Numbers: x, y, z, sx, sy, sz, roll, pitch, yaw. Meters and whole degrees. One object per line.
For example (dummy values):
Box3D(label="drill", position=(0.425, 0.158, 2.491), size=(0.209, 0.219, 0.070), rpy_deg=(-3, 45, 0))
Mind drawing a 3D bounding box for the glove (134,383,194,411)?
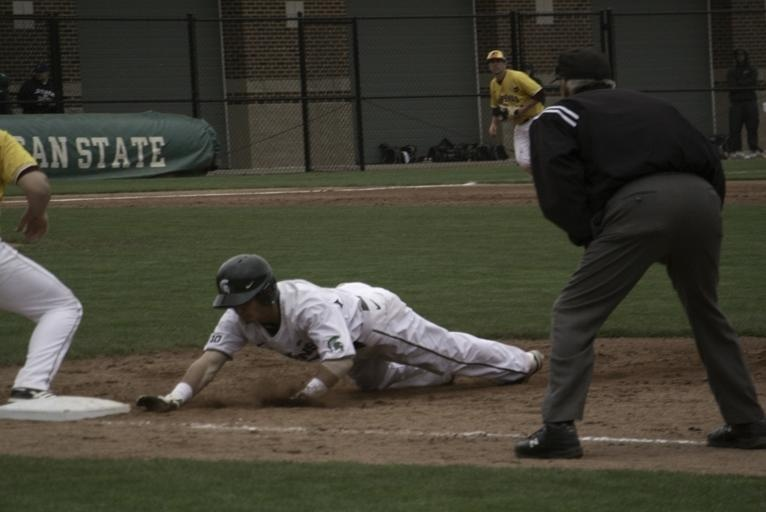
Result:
Box3D(label="glove", position=(-2.711, 1.712, 19.432), size=(0.823, 0.244, 0.309), rpy_deg=(10, 41, -34))

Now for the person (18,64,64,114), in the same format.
Box3D(label="person", position=(-6.683, -3.289, 31.600), size=(0.822, 0.941, 1.506), rpy_deg=(2, 8, 16))

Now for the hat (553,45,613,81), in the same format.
Box3D(label="hat", position=(2.253, -2.191, 18.423), size=(0.593, 0.246, 0.378), rpy_deg=(6, 8, 9))

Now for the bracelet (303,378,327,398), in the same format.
Box3D(label="bracelet", position=(-0.823, 1.578, 19.585), size=(0.313, 0.264, 0.169), rpy_deg=(1, 9, 8))

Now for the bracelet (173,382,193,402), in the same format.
Box3D(label="bracelet", position=(-2.422, 1.637, 19.615), size=(0.153, 0.140, 0.288), rpy_deg=(-20, 1, 16))

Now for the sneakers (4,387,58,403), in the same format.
Box3D(label="sneakers", position=(-4.185, 1.657, 19.289), size=(0.569, 0.171, 0.169), rpy_deg=(-1, -2, -6))

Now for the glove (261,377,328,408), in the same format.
Box3D(label="glove", position=(-1.001, 1.716, 19.662), size=(0.553, 0.484, 0.188), rpy_deg=(26, 38, -9))
